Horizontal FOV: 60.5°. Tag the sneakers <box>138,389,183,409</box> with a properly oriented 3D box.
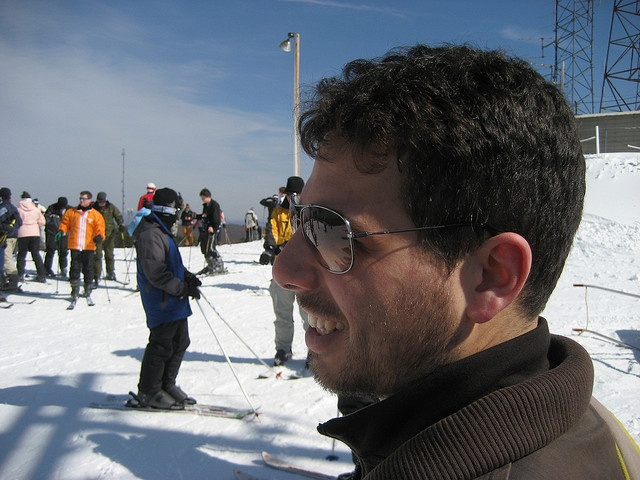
[{"bbox_3d":[-1.749,1.750,6.094,0.529,0.236,0.201,2,3,-5],"label":"sneakers"}]

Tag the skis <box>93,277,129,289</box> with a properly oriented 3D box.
[{"bbox_3d":[-5.007,1.029,13.047,0.586,0.278,0.189,-7,22,-9],"label":"skis"}]

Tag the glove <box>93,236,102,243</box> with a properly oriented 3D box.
[{"bbox_3d":[-4.442,-0.016,10.923,0.128,0.072,0.139,-7,3,-14],"label":"glove"}]

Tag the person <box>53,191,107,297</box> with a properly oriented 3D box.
[{"bbox_3d":[-4.789,0.156,11.091,0.795,2.242,1.290,-5,8,-26],"label":"person"}]

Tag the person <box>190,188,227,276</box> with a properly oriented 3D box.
[{"bbox_3d":[-3.091,0.013,15.055,1.252,3.023,1.192,-1,19,-11],"label":"person"}]

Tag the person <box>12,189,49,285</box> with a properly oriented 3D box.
[{"bbox_3d":[-6.793,-0.123,12.875,0.648,1.999,0.590,0,1,-21],"label":"person"}]

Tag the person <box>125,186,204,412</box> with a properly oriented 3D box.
[{"bbox_3d":[-1.760,0.758,6.218,0.752,2.152,0.905,-4,8,-15],"label":"person"}]
